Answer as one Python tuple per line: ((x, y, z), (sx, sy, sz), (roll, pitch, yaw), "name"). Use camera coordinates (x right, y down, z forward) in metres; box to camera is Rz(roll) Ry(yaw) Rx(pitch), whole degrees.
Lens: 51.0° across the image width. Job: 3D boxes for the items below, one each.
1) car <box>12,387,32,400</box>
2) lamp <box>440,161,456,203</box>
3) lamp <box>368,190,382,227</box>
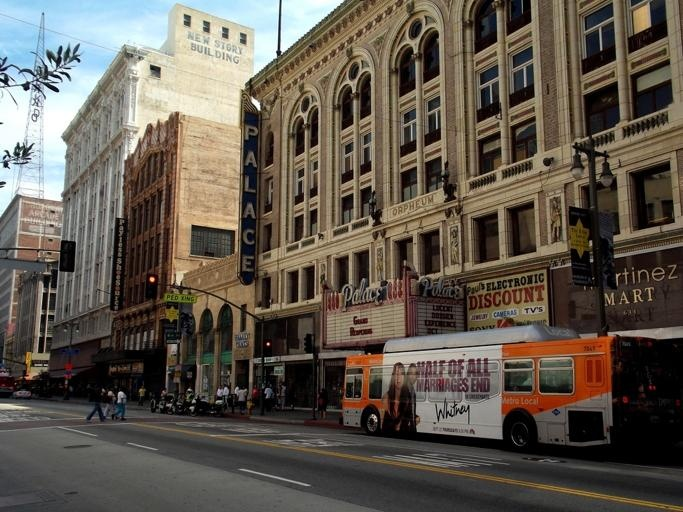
((-37.473, 16.212, 83.731), (1.575, 1.137, 2.426), (9, -19, -32), "car")
((6.061, -4.209, 40.300), (0.750, 2.548, 0.763), (-3, -14, 9), "lamp")
((2.183, -3.025, 45.450), (0.735, 2.511, 1.124), (-1, -14, 1), "lamp")
